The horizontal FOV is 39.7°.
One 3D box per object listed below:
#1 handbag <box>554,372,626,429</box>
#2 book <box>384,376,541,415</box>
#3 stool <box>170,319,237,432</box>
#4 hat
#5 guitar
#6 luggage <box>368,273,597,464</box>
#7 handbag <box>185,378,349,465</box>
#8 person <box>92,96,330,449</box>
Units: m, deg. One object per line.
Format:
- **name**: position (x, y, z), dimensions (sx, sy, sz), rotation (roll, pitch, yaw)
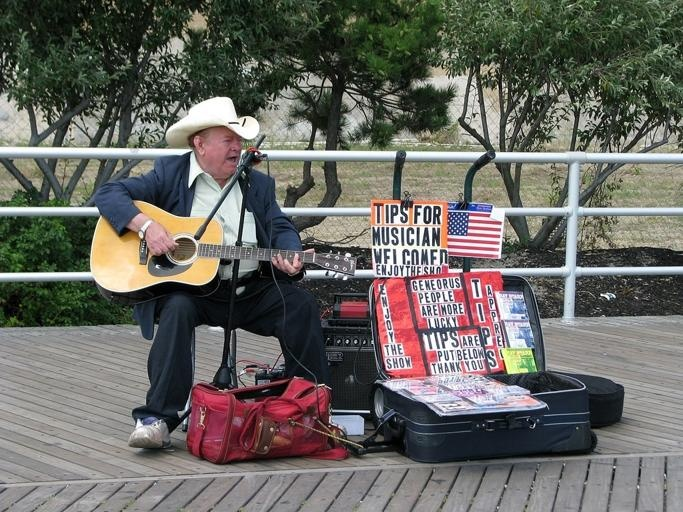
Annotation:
- **handbag**: position (1.281, 0.769, 4.928), dimensions (0.353, 0.196, 0.263), rotation (3, 14, -16)
- **book**: position (0.595, 0.705, 4.802), dimensions (0.755, 0.124, 0.475), rotation (-4, 8, -8)
- **stool**: position (-0.655, 0.596, 5.193), dimensions (0.321, 0.376, 0.332), rotation (1, -8, -15)
- **hat**: position (-0.717, -0.683, 5.086), dimensions (0.422, 0.267, 0.311), rotation (8, 17, 12)
- **guitar**: position (-0.669, 0.069, 5.189), dimensions (1.159, 0.548, 1.237), rotation (-3, 16, -40)
- **luggage**: position (0.664, 0.589, 4.965), dimensions (1.068, 0.943, 0.834), rotation (3, 17, -9)
- **handbag**: position (-0.379, 0.831, 4.734), dimensions (0.792, 0.405, 0.182), rotation (-4, 8, -7)
- **person**: position (-0.655, 0.111, 5.135), dimensions (1.142, 1.831, 0.859), rotation (1, -1, -4)
